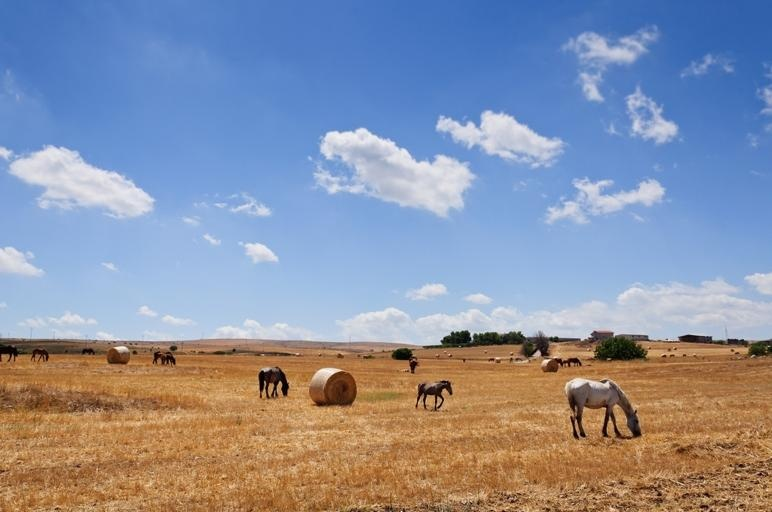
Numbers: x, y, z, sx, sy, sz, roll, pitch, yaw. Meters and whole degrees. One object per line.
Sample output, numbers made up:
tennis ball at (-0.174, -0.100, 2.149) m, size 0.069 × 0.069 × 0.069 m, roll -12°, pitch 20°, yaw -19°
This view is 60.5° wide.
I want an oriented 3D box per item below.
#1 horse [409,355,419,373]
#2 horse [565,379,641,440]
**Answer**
horse at (3.505, 14.404, 87.932) m, size 1.423 × 1.700 × 2.612 m, roll -1°, pitch -31°, yaw 5°
horse at (11.334, 7.874, 35.111) m, size 3.896 × 2.853 × 3.371 m, roll 1°, pitch -2°, yaw 1°
